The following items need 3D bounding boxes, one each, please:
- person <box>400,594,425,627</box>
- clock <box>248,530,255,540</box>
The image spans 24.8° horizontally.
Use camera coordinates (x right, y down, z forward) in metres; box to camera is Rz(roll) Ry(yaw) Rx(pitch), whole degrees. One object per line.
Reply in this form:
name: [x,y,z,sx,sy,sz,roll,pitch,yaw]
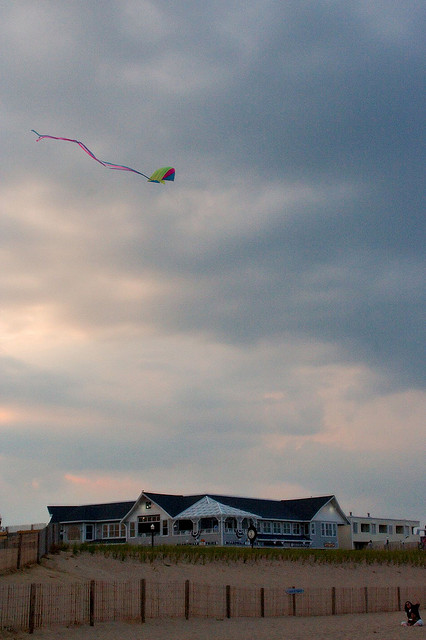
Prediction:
person: [6.225,9.234,30.533,0.685,0.695,2.153,-4,-15,11]
clock: [2.576,13.899,62.680,0.109,0.437,0.452,10,-1,-42]
